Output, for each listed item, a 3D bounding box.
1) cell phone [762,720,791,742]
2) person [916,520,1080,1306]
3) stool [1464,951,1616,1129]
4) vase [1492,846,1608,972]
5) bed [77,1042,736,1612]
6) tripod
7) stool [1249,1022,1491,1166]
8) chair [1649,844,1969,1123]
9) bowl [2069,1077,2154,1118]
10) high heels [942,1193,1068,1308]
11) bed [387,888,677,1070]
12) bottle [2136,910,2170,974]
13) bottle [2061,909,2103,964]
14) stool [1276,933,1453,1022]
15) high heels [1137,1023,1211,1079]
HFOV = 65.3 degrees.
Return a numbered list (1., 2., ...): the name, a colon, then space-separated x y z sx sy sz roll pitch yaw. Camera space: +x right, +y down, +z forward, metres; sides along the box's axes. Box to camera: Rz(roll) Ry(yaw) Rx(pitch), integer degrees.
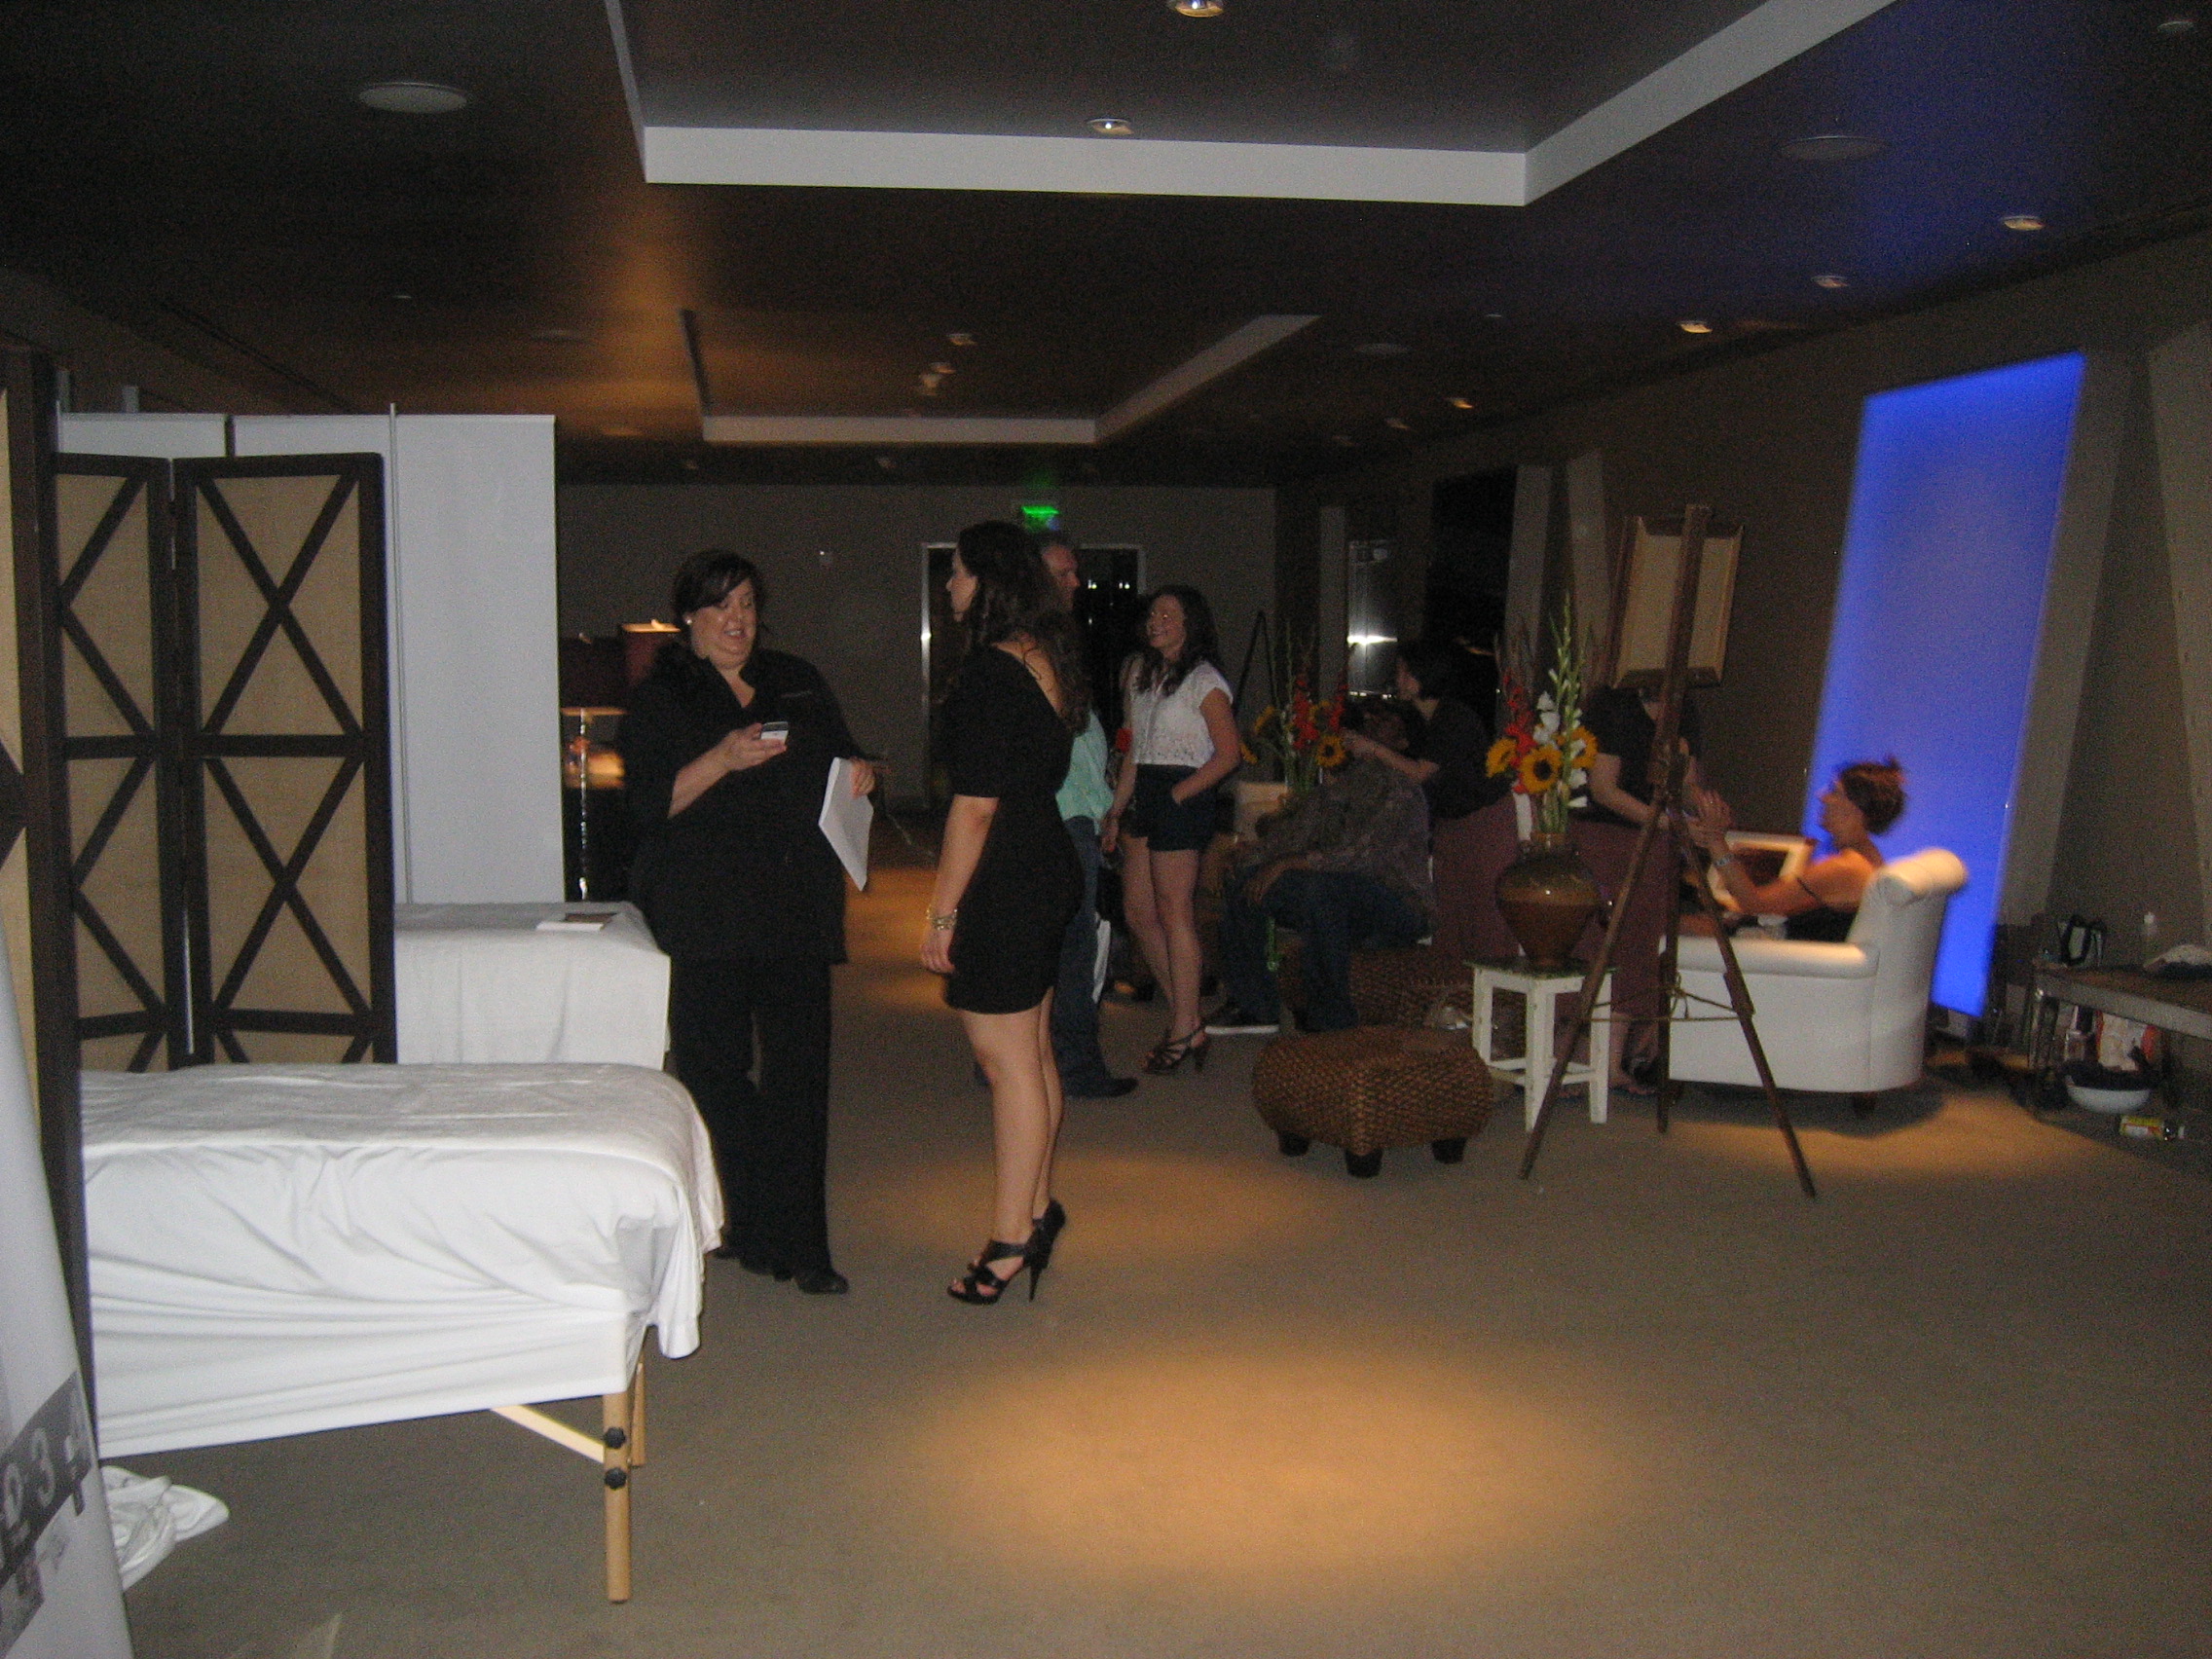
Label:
1. cell phone: -0.767 -0.224 4.031 0.045 0.047 0.079 9 13 43
2. person: -0.262 0.213 4.162 0.354 1.880 0.308 -1 9 -9
3. stool: 1.517 0.762 5.929 0.592 0.612 0.577 5 -2 -44
4. vase: 1.412 0.271 5.599 0.358 0.476 0.371 1 -7 -3
5. bed: -1.224 0.873 3.209 1.026 0.605 0.820 -2 10 -13
6. tripod: 1.626 0.480 5.138 0.849 1.287 0.782 0 -1 25
7. stool: 0.838 0.843 5.439 0.755 0.408 0.773 0 3 1
8. chair: 2.470 0.472 6.186 0.909 0.938 0.870 2 4 17
9. bowl: 3.446 0.916 5.927 0.234 0.106 0.135 3 -2 -9
10. high heels: -0.246 1.059 4.247 0.134 0.171 0.386 -7 -4 40
11. bed: -1.462 0.417 4.396 0.480 0.194 0.512 3 3 -2
12. bottle: 3.905 0.418 6.443 0.043 0.196 0.107 -1 -3 -13
13. bottle: 3.747 0.419 6.635 0.157 0.237 0.127 2 -6 4
14. stool: 1.004 0.573 6.157 0.366 0.173 0.392 1 3 -9
15. high heels: 0.246 0.820 6.312 0.245 0.137 0.126 -3 3 -19
